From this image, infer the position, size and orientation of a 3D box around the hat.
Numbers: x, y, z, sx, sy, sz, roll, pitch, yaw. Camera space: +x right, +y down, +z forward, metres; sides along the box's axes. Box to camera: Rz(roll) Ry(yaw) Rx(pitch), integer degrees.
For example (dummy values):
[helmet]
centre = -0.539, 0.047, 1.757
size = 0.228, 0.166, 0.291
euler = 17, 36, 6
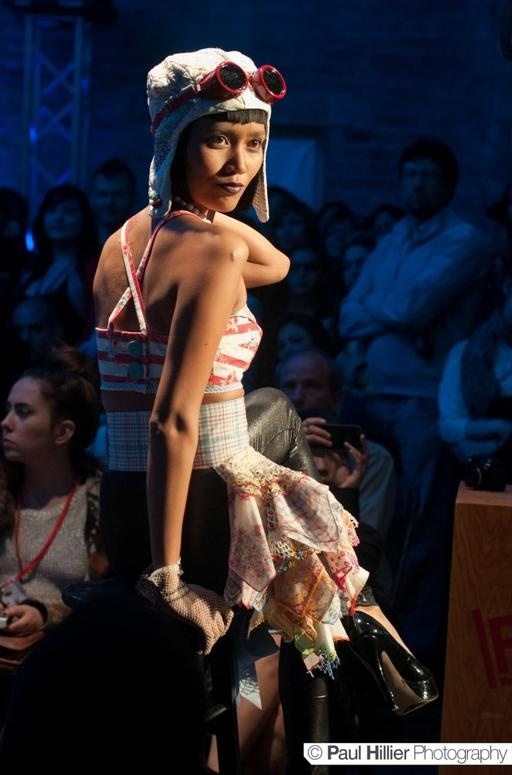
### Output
[hat]
centre = -0.091, -0.430, 1.265
size = 0.217, 0.266, 0.194
euler = 13, 20, 34
